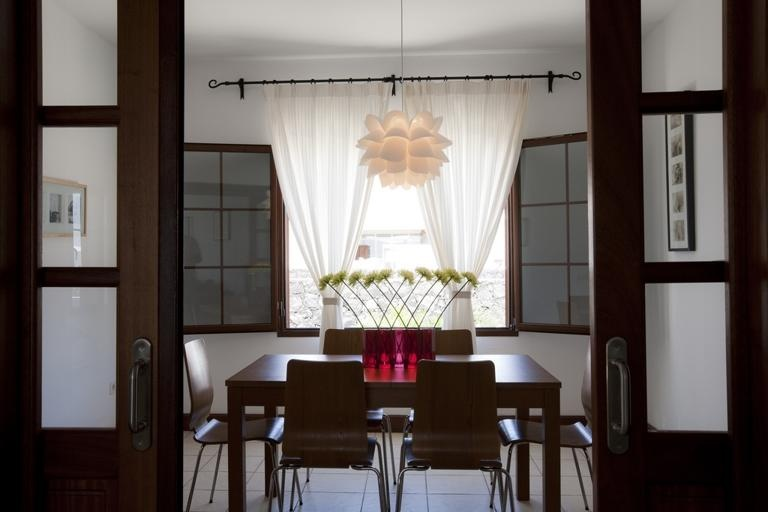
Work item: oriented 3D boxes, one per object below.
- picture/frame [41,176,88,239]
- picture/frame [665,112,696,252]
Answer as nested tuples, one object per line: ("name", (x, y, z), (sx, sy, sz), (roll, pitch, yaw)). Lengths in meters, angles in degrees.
("picture/frame", (-1.027, -0.151, 1.925), (0.007, 0.182, 0.170), (2, 2, 22))
("picture/frame", (0.922, -0.233, 1.862), (0.107, 0.431, 0.028), (0, -4, -15))
